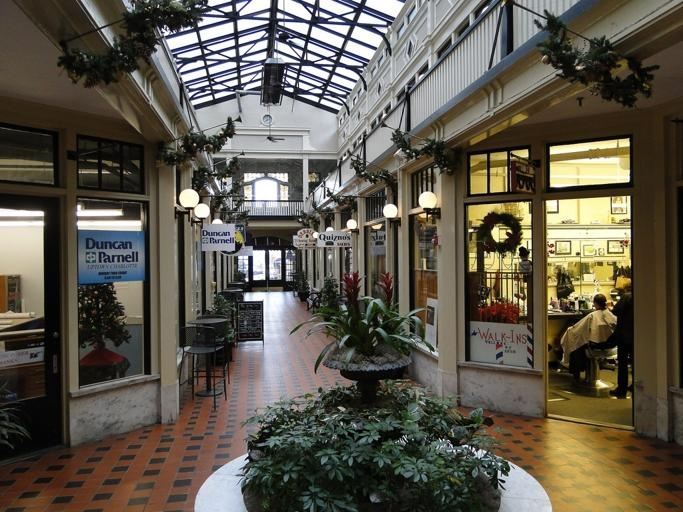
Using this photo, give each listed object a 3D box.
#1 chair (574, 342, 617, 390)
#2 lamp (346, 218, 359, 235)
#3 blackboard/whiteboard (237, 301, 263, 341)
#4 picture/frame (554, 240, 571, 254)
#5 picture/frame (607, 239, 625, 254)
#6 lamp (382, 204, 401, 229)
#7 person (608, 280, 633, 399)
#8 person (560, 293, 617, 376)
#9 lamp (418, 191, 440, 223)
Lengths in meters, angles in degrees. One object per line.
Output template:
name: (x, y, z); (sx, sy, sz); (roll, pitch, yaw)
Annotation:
chair: (4.269, 1.768, 8.208); (0.432, 0.503, 0.463); (-19, -29, 17)
lamp: (0.355, -0.833, 13.895); (0.396, 0.536, 0.380); (-1, 4, -22)
blackboard/whiteboard: (-2.244, 1.619, 11.931); (0.915, 1.300, 0.094); (-1, -7, 2)
picture/frame: (4.139, -0.173, 9.134); (0.246, 0.237, 0.021); (-1, 4, -4)
picture/frame: (5.188, -0.187, 9.210); (0.257, 0.248, 0.018); (-1, 4, 1)
lamp: (1.013, -0.781, 9.565); (0.311, 0.447, 0.433); (-2, -2, 7)
person: (4.280, 1.359, 7.412); (0.333, 1.687, 0.822); (-2, -3, 23)
person: (4.304, 1.335, 8.393); (0.892, 1.364, 0.979); (-1, 6, 29)
lamp: (1.402, -0.788, 7.681); (0.332, 0.425, 0.277); (0, -3, -22)
